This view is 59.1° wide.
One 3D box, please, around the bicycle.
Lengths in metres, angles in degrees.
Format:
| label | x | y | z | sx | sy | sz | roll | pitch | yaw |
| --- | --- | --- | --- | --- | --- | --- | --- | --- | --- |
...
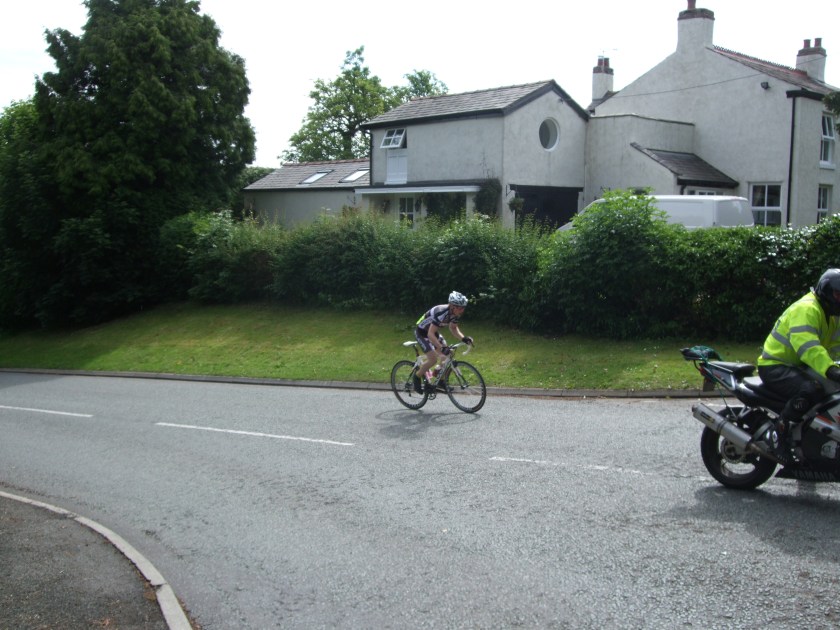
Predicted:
| label | x | y | z | sx | sy | sz | roll | pitch | yaw |
| --- | --- | --- | --- | --- | --- | --- | --- | --- | --- |
| bicycle | 0.237 | 1.053 | 12.798 | 1.888 | 1.263 | 0.566 | 0 | 8 | 30 |

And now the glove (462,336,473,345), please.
| label | x | y | z | sx | sy | sz | roll | pitch | yaw |
| --- | --- | --- | --- | --- | --- | --- | --- | --- | --- |
| glove | 0.804 | 0.432 | 12.593 | 0.110 | 0.173 | 0.142 | -6 | 11 | -27 |

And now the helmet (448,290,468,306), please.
| label | x | y | z | sx | sy | sz | roll | pitch | yaw |
| --- | --- | --- | --- | --- | --- | --- | --- | --- | --- |
| helmet | 0.616 | -0.221 | 12.252 | 0.266 | 0.306 | 0.347 | -1 | 16 | -24 |

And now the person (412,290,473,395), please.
| label | x | y | z | sx | sy | sz | roll | pitch | yaw |
| --- | --- | --- | --- | --- | --- | --- | --- | --- | --- |
| person | 0.315 | 0.461 | 12.783 | 1.013 | 1.905 | 0.735 | 19 | 23 | 28 |

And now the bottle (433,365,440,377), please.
| label | x | y | z | sx | sy | sz | roll | pitch | yaw |
| --- | --- | --- | --- | --- | --- | --- | --- | --- | --- |
| bottle | 0.279 | 0.976 | 12.880 | 0.058 | 0.190 | 0.118 | 14 | -10 | -34 |
